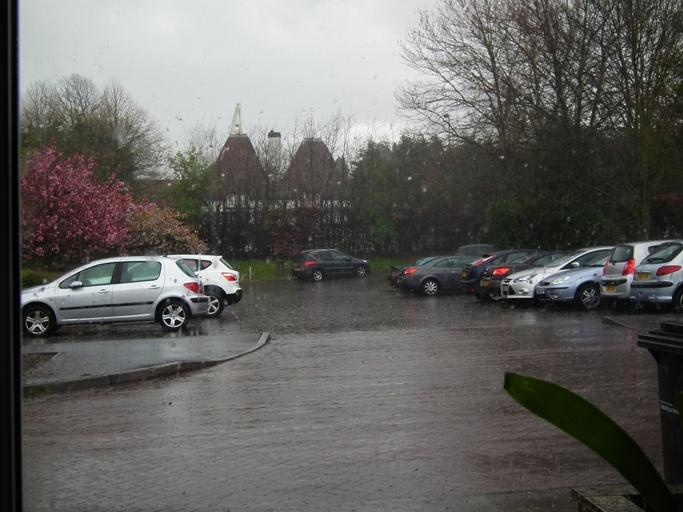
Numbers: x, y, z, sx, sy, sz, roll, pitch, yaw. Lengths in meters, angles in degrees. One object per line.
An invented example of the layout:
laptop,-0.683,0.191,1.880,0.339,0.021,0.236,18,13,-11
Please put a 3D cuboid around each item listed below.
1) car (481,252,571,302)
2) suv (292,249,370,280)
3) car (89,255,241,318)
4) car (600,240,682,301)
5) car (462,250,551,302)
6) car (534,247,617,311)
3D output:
car,5.507,0.615,21.051,2.335,1.017,1.171,-3,0,-13
suv,-0.706,0.515,35.602,2.793,1.479,1.653,-6,4,-23
car,-4.272,0.746,16.721,2.514,1.512,1.389,2,-2,-7
car,7.104,0.312,16.690,1.729,1.073,1.082,-6,3,-20
car,5.298,0.689,21.406,2.303,0.989,1.147,-12,6,-19
car,6.104,0.671,18.332,1.996,1.244,1.155,0,-2,-8
